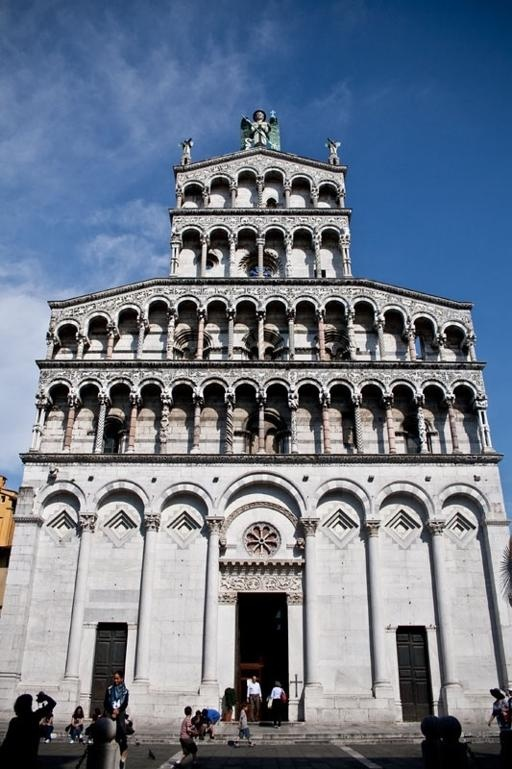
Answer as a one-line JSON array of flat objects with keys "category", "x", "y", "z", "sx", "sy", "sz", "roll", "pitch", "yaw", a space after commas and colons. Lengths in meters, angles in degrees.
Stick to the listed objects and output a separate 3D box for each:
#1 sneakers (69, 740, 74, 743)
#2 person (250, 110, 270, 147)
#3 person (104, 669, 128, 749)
[{"category": "sneakers", "x": -5.836, "y": 11.309, "z": 20.642, "sx": 0.107, "sy": 0.155, "sz": 0.052, "roll": 5, "pitch": -24, "yaw": -18}, {"category": "person", "x": 0.238, "y": -16.099, "z": 41.660, "sx": 1.156, "sy": 4.187, "sz": 1.536, "roll": 2, "pitch": -26, "yaw": -2}, {"category": "person", "x": -2.733, "y": 6.510, "z": 12.916, "sx": 0.360, "sy": 1.413, "sz": 0.432, "roll": -6, "pitch": -8, "yaw": 31}]
